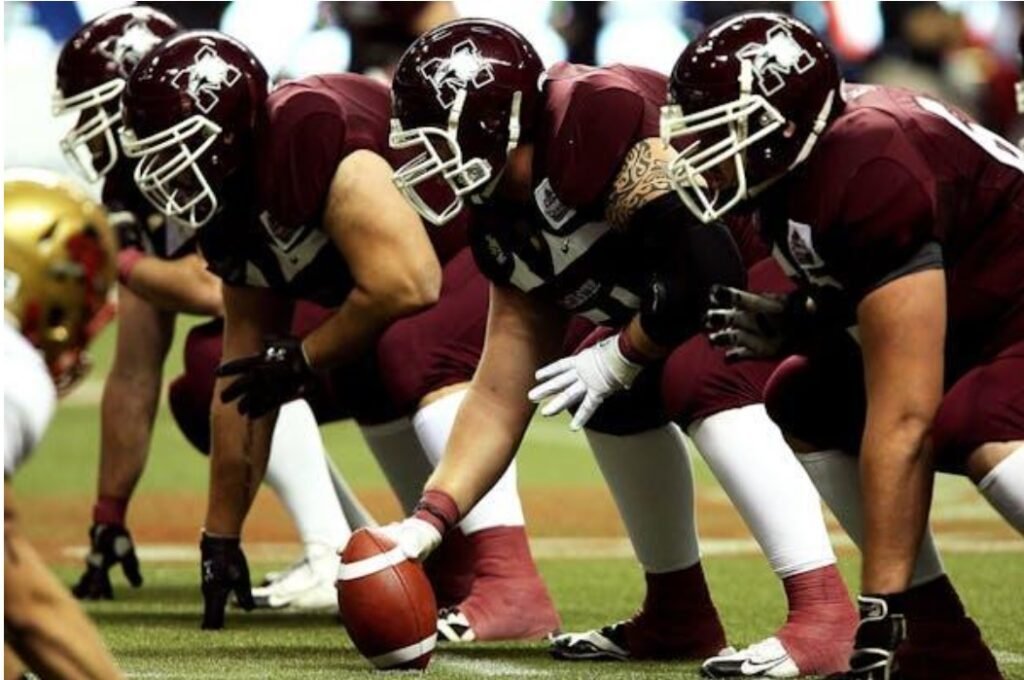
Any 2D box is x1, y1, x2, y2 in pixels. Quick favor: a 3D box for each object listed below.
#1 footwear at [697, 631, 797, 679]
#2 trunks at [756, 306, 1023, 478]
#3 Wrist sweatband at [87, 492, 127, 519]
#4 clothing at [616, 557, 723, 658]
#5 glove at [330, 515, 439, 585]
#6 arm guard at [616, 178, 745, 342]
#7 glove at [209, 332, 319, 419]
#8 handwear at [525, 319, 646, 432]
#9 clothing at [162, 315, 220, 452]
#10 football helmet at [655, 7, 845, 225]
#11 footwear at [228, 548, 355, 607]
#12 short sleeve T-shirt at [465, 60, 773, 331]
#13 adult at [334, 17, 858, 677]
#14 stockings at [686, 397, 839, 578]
[{"bbox_3d":[0.608,0.818,2.751,0.270,0.106,0.095,2,-11,0],"label":"footwear"},{"bbox_3d":[0.884,0.096,2.578,0.391,0.152,0.414,18,-27,25],"label":"trunks"},{"bbox_3d":[-1.520,0.642,4.022,0.108,0.107,0.101,24,-32,-34],"label":"Wrist sweatband"},{"bbox_3d":[0.392,0.806,3.085,0.445,0.314,0.151,-2,-9,6],"label":"clothing"},{"bbox_3d":[-0.324,0.521,2.712,0.237,0.112,0.139,-10,-1,-32],"label":"glove"},{"bbox_3d":[0.360,-0.191,2.620,0.382,0.171,0.273,20,-4,-44],"label":"arm guard"},{"bbox_3d":[-0.730,0.113,3.116,0.275,0.247,0.173,-3,13,-14],"label":"glove"},{"bbox_3d":[0.204,0.110,2.847,0.330,0.192,0.100,-32,-17,10],"label":"handwear"},{"bbox_3d":[-1.214,0.164,4.043,0.212,0.511,0.383,3,2,-11],"label":"clothing"},{"bbox_3d":[0.533,-0.537,2.542,0.478,0.428,0.406,-25,21,16],"label":"football helmet"},{"bbox_3d":[-0.865,0.879,3.986,0.545,0.232,0.186,-1,-1,6],"label":"footwear"},{"bbox_3d":[0.200,-0.430,2.908,0.747,0.583,0.573,28,14,25],"label":"short sleeve T-shirt"},{"bbox_3d":[0.231,0.170,3.615,1.729,2.162,1.452,1,-7,-6],"label":"adult"},{"bbox_3d":[0.631,0.423,2.885,0.171,0.467,0.305,-32,0,37],"label":"stockings"}]
